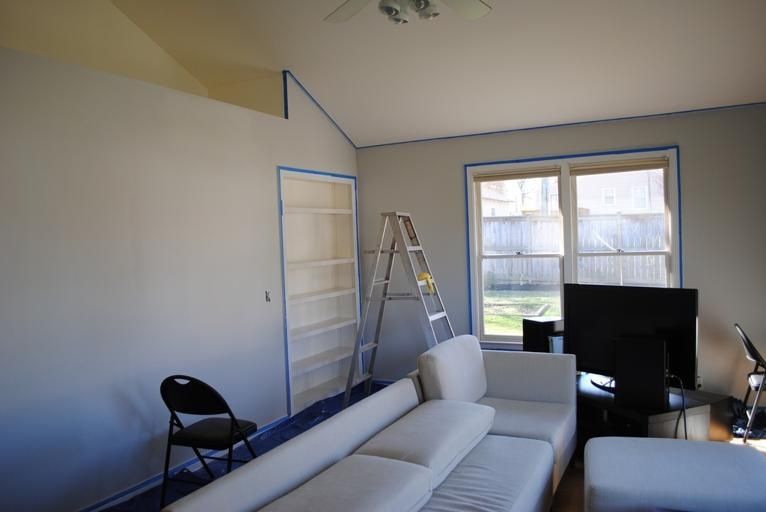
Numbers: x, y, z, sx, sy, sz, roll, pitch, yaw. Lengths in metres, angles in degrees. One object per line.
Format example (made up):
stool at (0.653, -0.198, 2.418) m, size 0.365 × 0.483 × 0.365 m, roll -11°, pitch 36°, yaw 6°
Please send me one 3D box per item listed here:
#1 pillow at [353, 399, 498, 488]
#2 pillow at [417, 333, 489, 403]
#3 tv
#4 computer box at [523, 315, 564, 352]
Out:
pillow at (0.351, 1.323, 3.665) m, size 0.663 × 0.294 × 1.174 m, roll -3°, pitch 3°, yaw 30°
pillow at (0.625, 1.015, 4.192) m, size 0.652 × 0.507 × 0.217 m, roll 3°, pitch -21°, yaw -44°
tv at (2.057, 0.711, 4.119) m, size 0.958 × 0.689 × 0.099 m, roll -1°, pitch -4°, yaw 38°
computer box at (1.648, 0.778, 4.916) m, size 0.322 × 0.394 × 0.269 m, roll 0°, pitch -5°, yaw 26°
